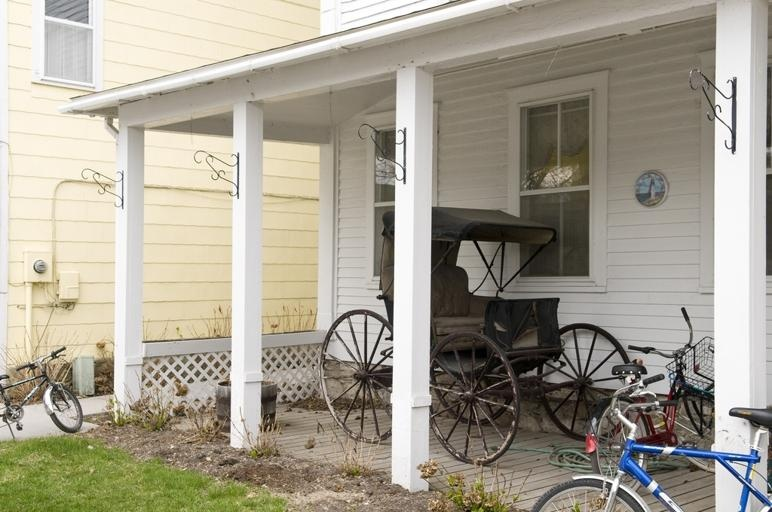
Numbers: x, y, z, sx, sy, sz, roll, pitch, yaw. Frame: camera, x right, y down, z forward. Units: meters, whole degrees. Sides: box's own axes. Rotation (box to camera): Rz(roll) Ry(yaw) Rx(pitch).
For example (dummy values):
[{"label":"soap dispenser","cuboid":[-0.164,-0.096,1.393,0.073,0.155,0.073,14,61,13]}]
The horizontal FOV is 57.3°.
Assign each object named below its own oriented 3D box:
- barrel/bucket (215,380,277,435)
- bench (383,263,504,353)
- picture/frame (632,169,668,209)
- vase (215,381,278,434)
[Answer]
[{"label":"barrel/bucket","cuboid":[-1.685,1.801,8.611,0.618,0.465,0.618,1,1,0]},{"label":"bench","cuboid":[0.738,0.661,8.358,0.839,1.008,0.890,-1,2,-2]},{"label":"picture/frame","cuboid":[2.913,-0.737,7.793,0.066,0.491,0.445,-1,0,-43]},{"label":"vase","cuboid":[-1.675,1.814,8.508,0.619,0.467,0.621,1,1,-8]}]
